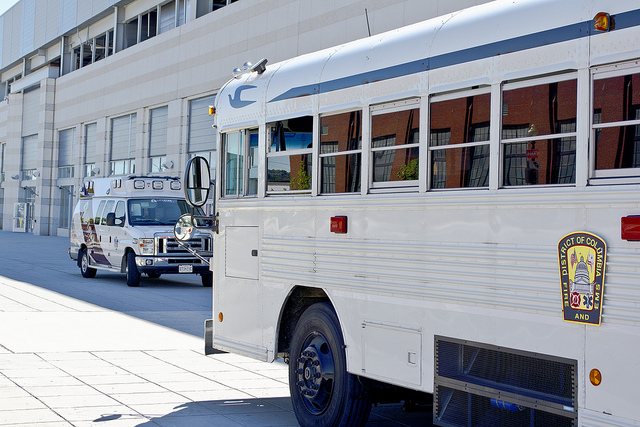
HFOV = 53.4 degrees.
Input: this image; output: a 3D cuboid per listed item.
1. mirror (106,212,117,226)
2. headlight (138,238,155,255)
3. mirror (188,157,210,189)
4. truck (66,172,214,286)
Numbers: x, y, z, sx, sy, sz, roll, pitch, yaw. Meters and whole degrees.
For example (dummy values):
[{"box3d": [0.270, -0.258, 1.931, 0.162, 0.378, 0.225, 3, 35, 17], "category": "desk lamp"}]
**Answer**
[{"box3d": [-6.236, 0.164, 19.027, 0.298, 0.400, 0.411, 3, -3, -18], "category": "mirror"}, {"box3d": [-4.975, 0.937, 18.197, 0.455, 0.474, 0.128, 2, -3, -1], "category": "headlight"}, {"box3d": [-1.500, -0.478, 7.855, 0.320, 0.455, 0.027, -7, 13, -34], "category": "mirror"}, {"box3d": [-5.337, 0.249, 19.844, 3.340, 3.185, 5.744, 1, -3, -34], "category": "truck"}]
